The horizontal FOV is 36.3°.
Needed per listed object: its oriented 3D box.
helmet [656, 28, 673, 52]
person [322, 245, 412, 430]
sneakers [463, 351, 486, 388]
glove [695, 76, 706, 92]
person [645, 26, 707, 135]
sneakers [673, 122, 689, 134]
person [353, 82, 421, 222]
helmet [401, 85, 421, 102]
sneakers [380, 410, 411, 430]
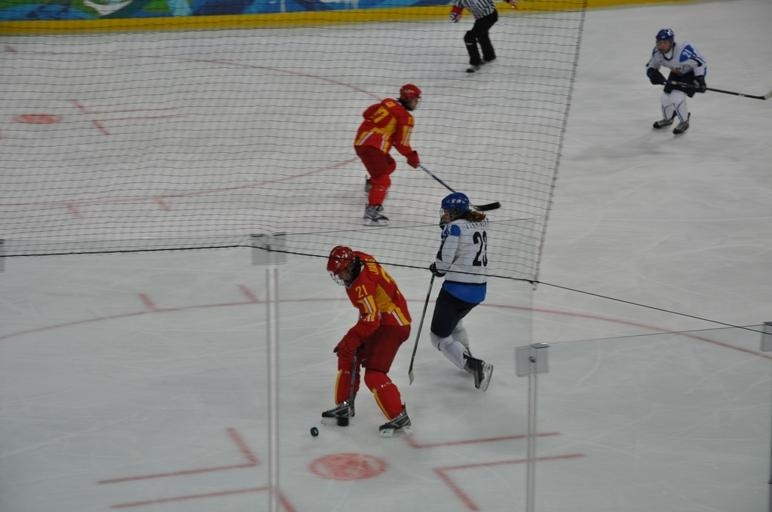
[{"bbox_3d":[3.618,-2.813,15.434,0.221,0.274,0.334,1,14,11],"label":"helmet"},{"bbox_3d":[-0.199,0.757,10.969,0.805,1.652,0.902,-2,17,1],"label":"person"},{"bbox_3d":[0.833,1.111,11.303,0.137,0.319,0.270,-8,16,-17],"label":"sneakers"},{"bbox_3d":[4.097,-2.258,15.491,0.123,0.222,0.243,2,14,12],"label":"glove"},{"bbox_3d":[3.826,-2.301,15.711,0.758,1.397,0.633,1,17,9],"label":"person"},{"bbox_3d":[3.903,-1.705,15.748,0.294,0.089,0.113,-27,30,-37],"label":"sneakers"},{"bbox_3d":[0.003,-1.172,13.552,0.742,1.586,0.781,-2,17,-1],"label":"person"},{"bbox_3d":[0.264,-1.836,13.243,0.219,0.160,0.104,-8,17,-27],"label":"helmet"},{"bbox_3d":[0.075,1.504,10.834,0.327,0.198,0.138,-4,16,-13],"label":"sneakers"}]
